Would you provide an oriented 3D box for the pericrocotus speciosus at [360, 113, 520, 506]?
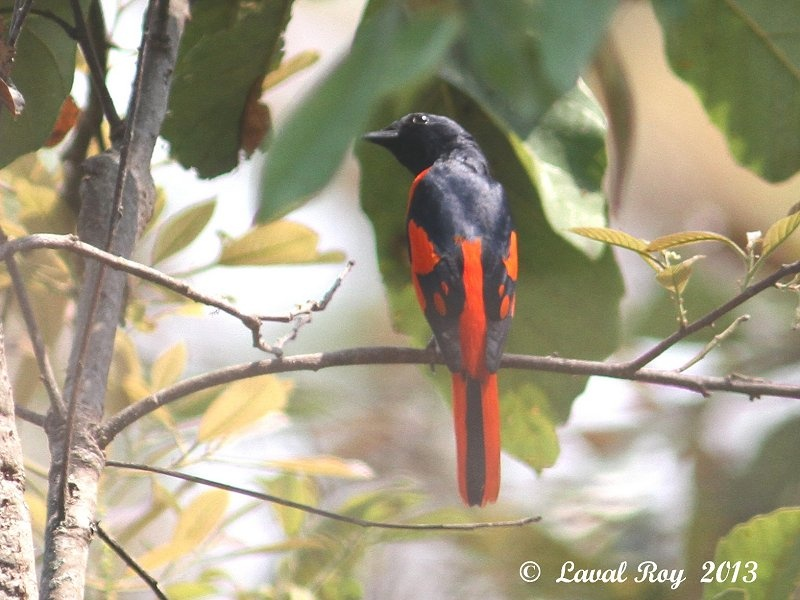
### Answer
[{"bbox_3d":[0.130,-0.029,4.070,0.439,1.385,0.488,-2,-19,-9],"label":"pericrocotus speciosus"}]
